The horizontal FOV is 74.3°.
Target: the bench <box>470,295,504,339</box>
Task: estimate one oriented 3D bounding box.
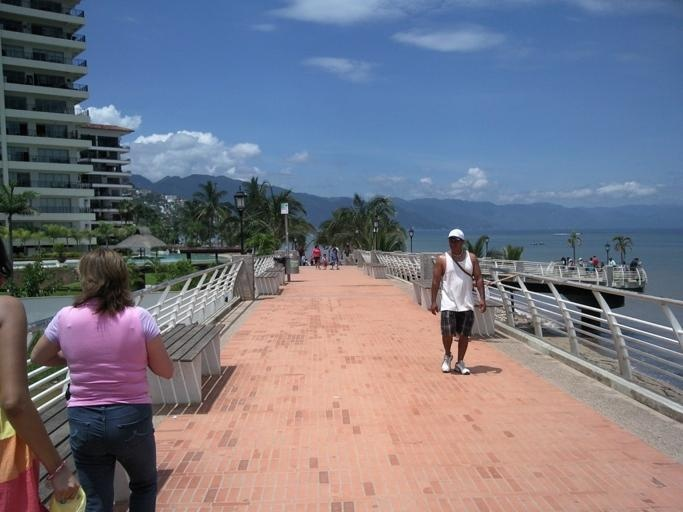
[{"bbox_3d":[2.916,1.319,9.482,0.575,0.567,0.606,4,-3,24],"label":"bench"}]

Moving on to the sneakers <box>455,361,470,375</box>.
[{"bbox_3d":[1.791,1.700,6.810,0.113,0.119,0.276,0,-7,-7],"label":"sneakers"}]

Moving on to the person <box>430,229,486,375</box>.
[{"bbox_3d":[1.727,0.691,6.835,0.771,2.176,0.507,0,4,13],"label":"person"}]

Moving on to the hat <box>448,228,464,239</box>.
[{"bbox_3d":[1.675,-0.346,6.727,0.170,0.148,0.266,3,-4,20],"label":"hat"}]

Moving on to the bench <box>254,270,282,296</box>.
[{"bbox_3d":[-2.753,1.039,16.552,0.749,0.453,1.147,0,2,3],"label":"bench"}]

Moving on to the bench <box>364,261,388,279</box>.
[{"bbox_3d":[1.793,0.779,24.624,1.108,0.730,2.963,-1,3,3],"label":"bench"}]

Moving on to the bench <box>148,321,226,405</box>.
[{"bbox_3d":[-2.228,1.498,6.301,0.688,0.744,1.978,3,3,-4],"label":"bench"}]

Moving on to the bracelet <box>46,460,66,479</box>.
[{"bbox_3d":[-1.400,1.033,2.188,0.088,0.032,0.074,-38,-18,-7],"label":"bracelet"}]

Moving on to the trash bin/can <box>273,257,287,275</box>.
[{"bbox_3d":[-3.515,0.509,25.224,0.851,1.210,0.439,-3,-19,0],"label":"trash bin/can"}]
